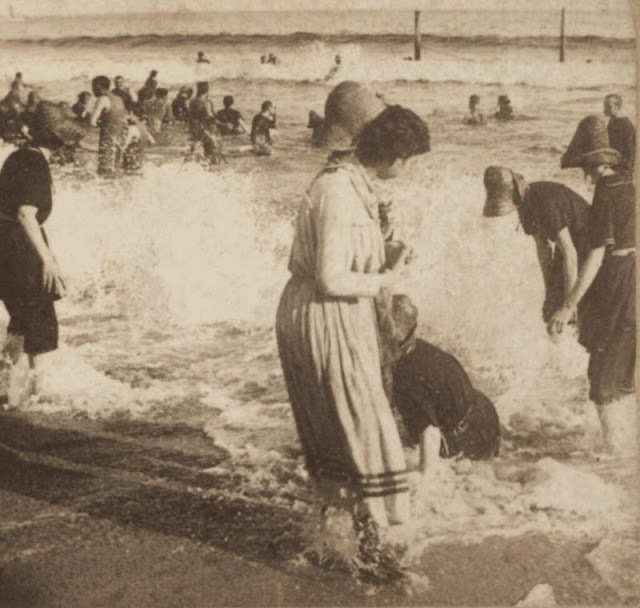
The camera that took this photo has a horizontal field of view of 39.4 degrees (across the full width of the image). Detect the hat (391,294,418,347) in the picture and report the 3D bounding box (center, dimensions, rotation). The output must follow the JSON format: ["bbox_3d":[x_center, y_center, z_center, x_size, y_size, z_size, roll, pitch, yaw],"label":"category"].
[{"bbox_3d":[0.614,0.101,6.592,0.219,0.346,0.101,-3,1,-32],"label":"hat"}]

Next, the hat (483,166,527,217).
[{"bbox_3d":[1.339,-0.843,6.650,0.256,0.404,0.201,-2,-20,29],"label":"hat"}]

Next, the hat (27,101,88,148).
[{"bbox_3d":[-2.008,-1.363,6.825,0.321,0.196,0.414,-35,69,-26],"label":"hat"}]
